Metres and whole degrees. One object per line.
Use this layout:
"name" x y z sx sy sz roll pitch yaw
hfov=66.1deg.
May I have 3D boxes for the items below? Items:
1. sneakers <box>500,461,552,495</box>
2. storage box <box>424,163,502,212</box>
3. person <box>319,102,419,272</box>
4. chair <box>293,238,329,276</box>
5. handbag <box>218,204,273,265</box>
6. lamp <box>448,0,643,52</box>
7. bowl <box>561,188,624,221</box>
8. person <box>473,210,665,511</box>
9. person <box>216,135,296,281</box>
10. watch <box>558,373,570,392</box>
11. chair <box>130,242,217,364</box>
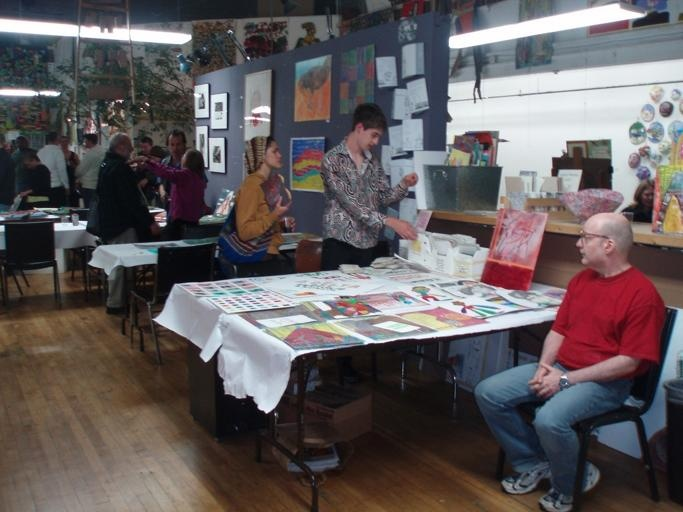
"sneakers" 1.033 1.252 3.006 0.336 0.151 0.125 -10 13 -21
"storage box" 0.962 -0.471 4.042 0.442 0.269 0.439 -2 6 -33
"person" 0.198 -0.522 4.017 0.751 1.243 0.645 0 13 7
"chair" -0.316 0.000 4.972 0.290 0.424 0.297 1 1 -2
"handbag" -0.815 -0.252 4.481 0.367 0.643 0.480 12 9 0
"lamp" 2.147 -2.401 5.448 1.969 0.090 0.338 10 42 48
"bowl" 1.626 -0.341 3.415 0.270 0.103 0.241 0 5 -30
"person" 1.213 0.580 2.768 0.848 1.559 0.549 -6 14 -18
"person" -0.706 -0.390 4.361 0.646 1.153 0.465 -6 14 -19
"watch" 1.146 0.658 2.705 0.063 0.092 0.071 1 -3 9
"chair" -1.669 0.379 5.143 0.797 1.083 0.696 12 16 37
